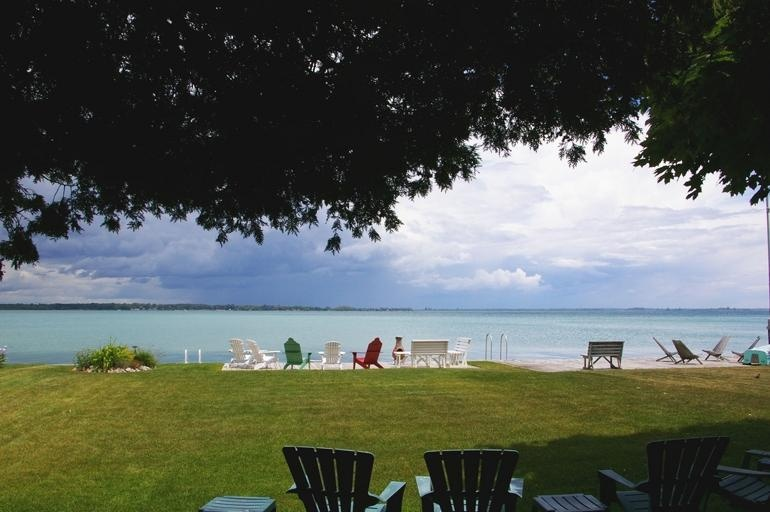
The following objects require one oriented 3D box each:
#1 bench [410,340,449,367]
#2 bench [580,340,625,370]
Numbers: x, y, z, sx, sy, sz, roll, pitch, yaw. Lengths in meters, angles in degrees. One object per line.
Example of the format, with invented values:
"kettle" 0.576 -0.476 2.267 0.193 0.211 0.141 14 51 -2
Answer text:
"bench" 1.625 3.568 23.618 1.159 0.856 0.585 1 2 0
"bench" 7.800 3.441 22.957 1.240 0.910 3.839 -2 -5 19
